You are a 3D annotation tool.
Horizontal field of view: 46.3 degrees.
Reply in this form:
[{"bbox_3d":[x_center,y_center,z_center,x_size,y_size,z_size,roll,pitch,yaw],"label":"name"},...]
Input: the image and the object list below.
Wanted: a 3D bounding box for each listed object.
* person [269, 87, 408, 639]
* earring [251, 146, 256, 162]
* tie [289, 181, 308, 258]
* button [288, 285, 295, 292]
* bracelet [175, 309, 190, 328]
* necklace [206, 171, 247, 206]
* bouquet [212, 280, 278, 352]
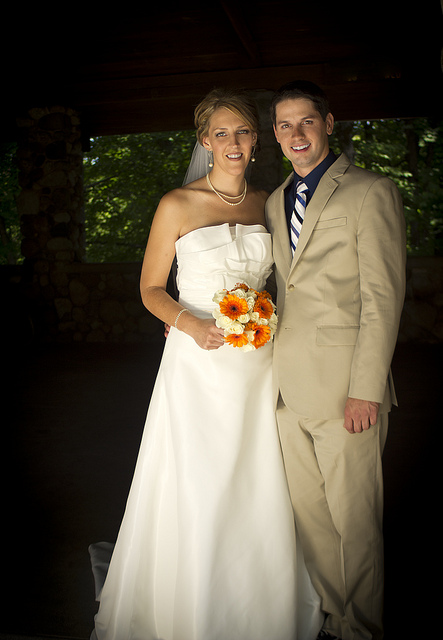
[{"bbox_3d":[0.433,0.196,2.022,0.394,2.162,0.585,-7,12,-20],"label":"person"},{"bbox_3d":[0.149,-0.753,2.385,0.027,0.042,0.019,3,-17,28],"label":"earring"},{"bbox_3d":[0.318,-0.406,2.045,0.048,0.325,0.041,-2,-17,37],"label":"tie"},{"bbox_3d":[0.269,-0.119,1.984,0.026,0.028,0.007,7,14,40],"label":"button"},{"bbox_3d":[-0.145,-0.007,2.052,0.016,0.058,0.064,13,-4,25],"label":"bracelet"},{"bbox_3d":[0.031,-0.577,2.296,0.185,0.144,0.116,-3,11,-6],"label":"necklace"},{"bbox_3d":[0.084,-0.016,1.928,0.207,0.252,0.180,2,17,-11],"label":"bouquet"}]
